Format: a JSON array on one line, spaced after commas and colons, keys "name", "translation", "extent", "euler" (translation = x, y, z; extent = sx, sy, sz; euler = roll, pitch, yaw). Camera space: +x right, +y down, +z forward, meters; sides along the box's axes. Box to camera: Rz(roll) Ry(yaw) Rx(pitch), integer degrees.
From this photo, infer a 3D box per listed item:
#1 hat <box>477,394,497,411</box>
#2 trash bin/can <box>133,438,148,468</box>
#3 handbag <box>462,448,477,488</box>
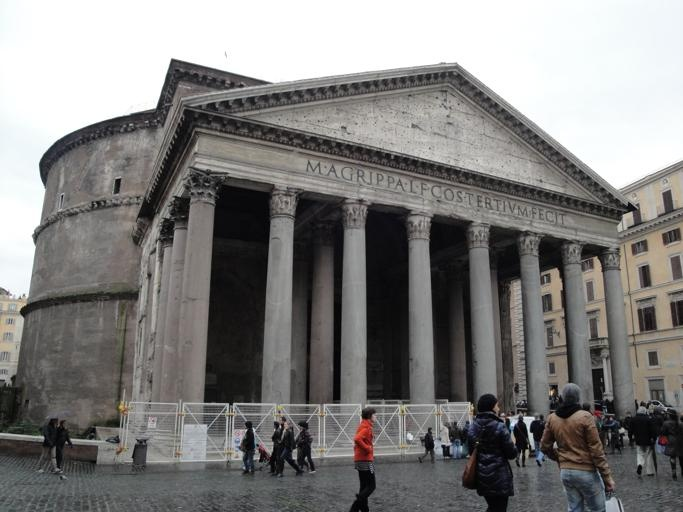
[{"name": "hat", "translation": [2.289, 2.317, 8.405], "extent": [0.278, 0.279, 0.287], "euler": [-2, -17, 14]}, {"name": "trash bin/can", "translation": [-6.538, 6.400, 17.332], "extent": [0.399, 0.875, 0.364], "euler": [8, -17, -22]}, {"name": "handbag", "translation": [1.975, 3.264, 8.216], "extent": [0.195, 0.571, 0.201], "euler": [5, -16, -11]}]
